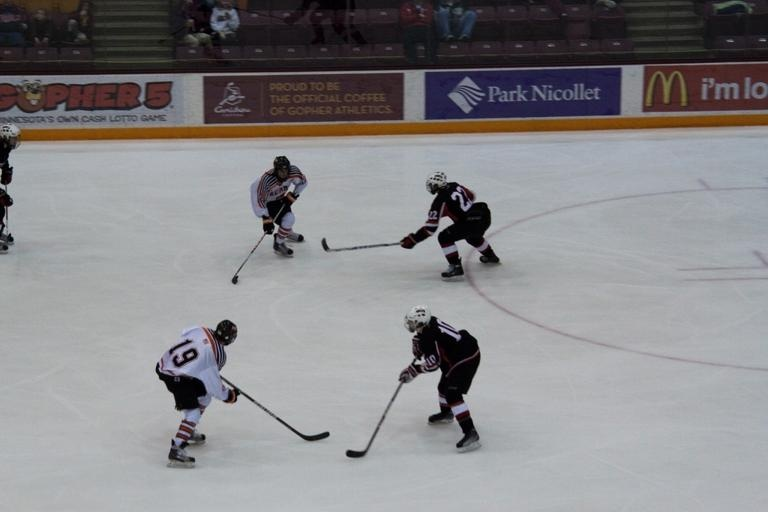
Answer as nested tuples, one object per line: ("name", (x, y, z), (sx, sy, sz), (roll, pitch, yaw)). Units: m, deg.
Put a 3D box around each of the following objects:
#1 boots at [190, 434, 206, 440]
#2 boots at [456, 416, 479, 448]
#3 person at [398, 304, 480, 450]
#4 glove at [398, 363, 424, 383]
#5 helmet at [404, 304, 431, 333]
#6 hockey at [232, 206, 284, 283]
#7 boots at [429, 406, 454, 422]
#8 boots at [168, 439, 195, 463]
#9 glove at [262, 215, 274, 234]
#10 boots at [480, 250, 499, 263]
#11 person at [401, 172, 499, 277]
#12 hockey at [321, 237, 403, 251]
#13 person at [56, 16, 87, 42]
("boots", (-1.886, 1.850, 10.547), (0.185, 0.058, 0.048), (-5, 29, -4))
("boots", (0.827, 1.764, 10.406), (0.242, 0.333, 0.202), (-4, 14, 3))
("person", (0.623, 1.208, 10.507), (0.809, 1.430, 0.530), (5, 18, 35))
("glove", (0.283, 1.212, 10.524), (0.256, 0.088, 0.190), (-25, 41, 4))
("helmet", (0.337, 0.625, 10.504), (0.355, 0.223, 0.225), (5, 12, 9))
("hockey", (-1.685, -0.104, 13.990), (0.118, 0.192, 1.775), (24, 45, 20))
("boots", (0.598, 1.673, 10.783), (0.327, 0.102, 0.114), (1, 11, 1))
("boots", (-2.006, 1.946, 10.238), (0.253, 0.243, 0.122), (-2, 14, 7))
("glove", (-1.550, -0.391, 13.780), (0.201, 0.192, 0.078), (-8, 7, -18))
("boots", (1.369, 0.035, 13.570), (0.141, 0.154, 0.237), (-19, 33, -13))
("person", (0.890, -0.387, 13.192), (1.242, 1.364, 0.398), (-9, 15, -22))
("hockey", (-0.296, -0.150, 14.237), (1.069, 0.069, 0.155), (-3, -23, -13))
("person", (-6.452, -4.640, 21.315), (0.854, 0.545, 0.400), (-1, 9, -10))
